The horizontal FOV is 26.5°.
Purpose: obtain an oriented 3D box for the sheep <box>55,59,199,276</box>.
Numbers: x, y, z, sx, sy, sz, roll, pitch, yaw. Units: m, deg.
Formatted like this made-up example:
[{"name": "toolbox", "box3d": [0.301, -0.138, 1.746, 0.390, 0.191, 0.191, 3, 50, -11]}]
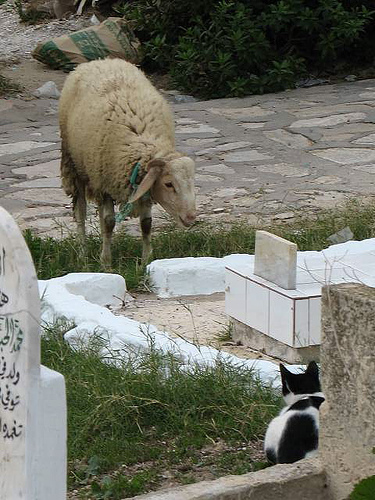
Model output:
[{"name": "sheep", "box3d": [-0.472, -0.615, 7.233, 1.197, 1.763, 2.660, -4, 24, -20]}]
